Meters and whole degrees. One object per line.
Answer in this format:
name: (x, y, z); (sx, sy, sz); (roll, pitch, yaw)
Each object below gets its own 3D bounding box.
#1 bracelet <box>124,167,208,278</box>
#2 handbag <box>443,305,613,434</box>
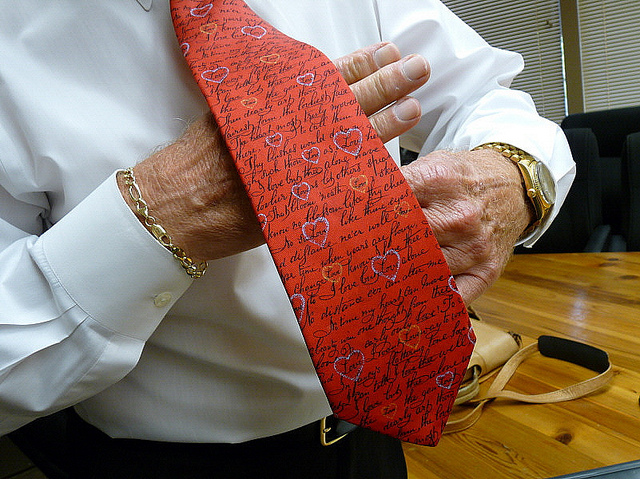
bracelet: (-0.188, -0.031, 0.697); (0.080, 0.148, 0.025); (-34, -7, 39)
handbag: (0.364, 0.233, 0.936); (0.245, 0.074, 0.249); (-3, 24, 10)
